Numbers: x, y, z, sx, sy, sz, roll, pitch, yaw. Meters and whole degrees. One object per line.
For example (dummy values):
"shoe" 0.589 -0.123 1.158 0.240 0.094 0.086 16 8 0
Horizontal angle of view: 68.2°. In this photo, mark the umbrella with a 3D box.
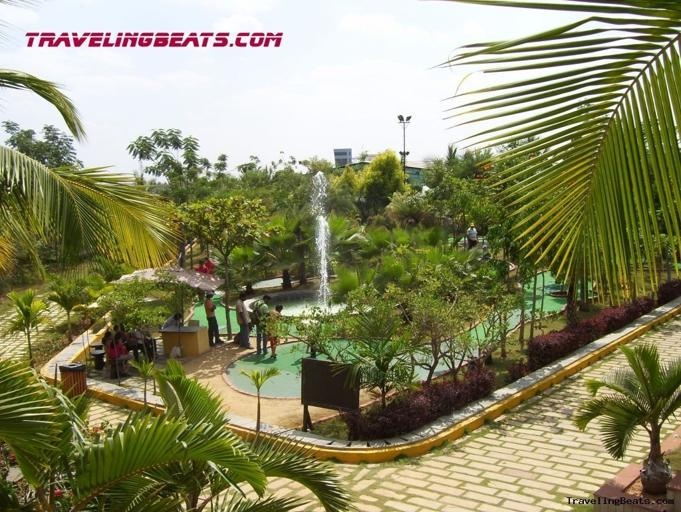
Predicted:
"umbrella" -4.800 0.737 14.051 2.070 0.734 2.114 18 24 41

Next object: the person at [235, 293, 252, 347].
"person" -2.787 1.835 14.442 0.345 1.563 0.881 -3 7 -12

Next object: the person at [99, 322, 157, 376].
"person" -5.146 2.278 12.186 0.510 0.616 1.594 -2 4 -8
